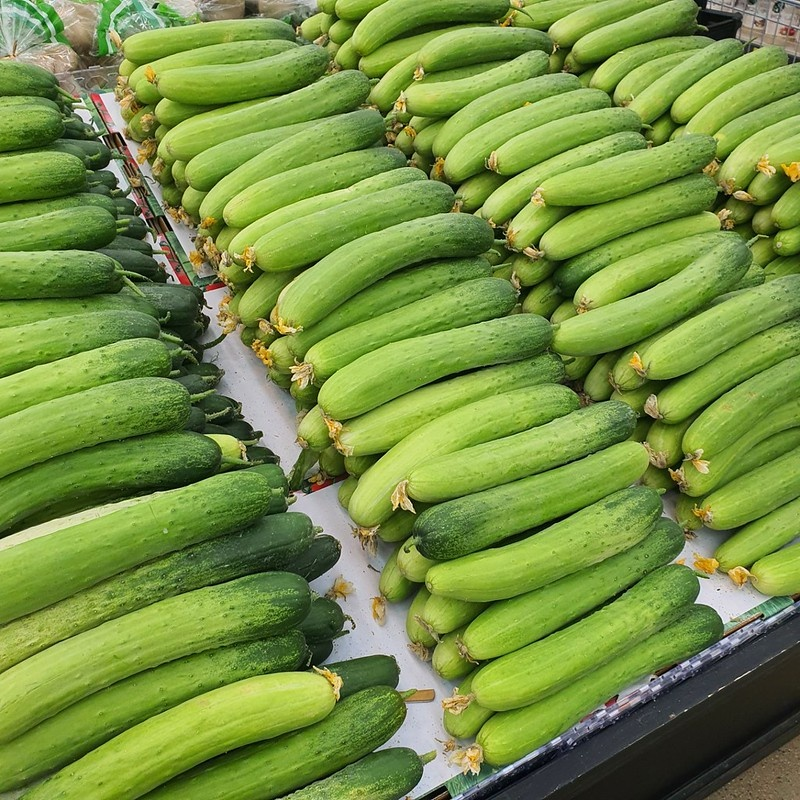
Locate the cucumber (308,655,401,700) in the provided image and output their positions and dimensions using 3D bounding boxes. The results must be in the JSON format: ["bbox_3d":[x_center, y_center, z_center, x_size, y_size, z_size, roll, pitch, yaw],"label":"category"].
[{"bbox_3d":[-0.153,0.953,2.911,0.308,0.087,0.117,-8,15,-29],"label":"cucumber"}]

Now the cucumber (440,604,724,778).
[{"bbox_3d":[0.594,1.005,2.918,1.185,0.250,0.216,-23,77,-7],"label":"cucumber"}]
